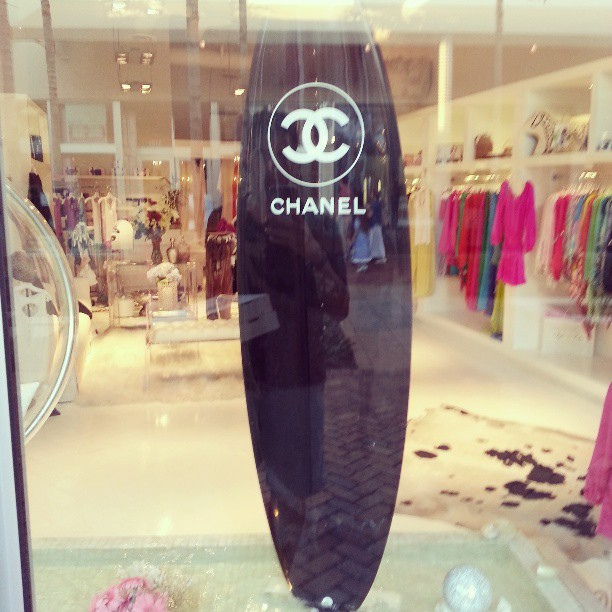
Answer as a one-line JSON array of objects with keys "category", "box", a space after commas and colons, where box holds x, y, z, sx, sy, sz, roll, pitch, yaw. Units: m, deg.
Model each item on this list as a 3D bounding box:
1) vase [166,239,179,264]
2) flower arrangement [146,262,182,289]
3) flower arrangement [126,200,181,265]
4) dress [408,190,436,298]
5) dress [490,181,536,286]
[{"category": "vase", "box": [-0.326, -0.135, 1.321, 0.024, 0.057, 0.077, -4, 10, -21]}, {"category": "flower arrangement", "box": [-0.373, -0.086, 1.423, 0.070, 0.083, 0.075, -2, 4, -24]}, {"category": "flower arrangement", "box": [-0.417, -0.206, 1.348, 0.098, 0.144, 0.126, 30, 16, 12]}, {"category": "dress", "box": [0.285, -0.146, 1.301, 0.097, 0.262, 0.036, -5, 9, -23]}, {"category": "dress", "box": [0.533, -0.179, 1.361, 0.096, 0.262, 0.077, 1, 9, 15]}]
